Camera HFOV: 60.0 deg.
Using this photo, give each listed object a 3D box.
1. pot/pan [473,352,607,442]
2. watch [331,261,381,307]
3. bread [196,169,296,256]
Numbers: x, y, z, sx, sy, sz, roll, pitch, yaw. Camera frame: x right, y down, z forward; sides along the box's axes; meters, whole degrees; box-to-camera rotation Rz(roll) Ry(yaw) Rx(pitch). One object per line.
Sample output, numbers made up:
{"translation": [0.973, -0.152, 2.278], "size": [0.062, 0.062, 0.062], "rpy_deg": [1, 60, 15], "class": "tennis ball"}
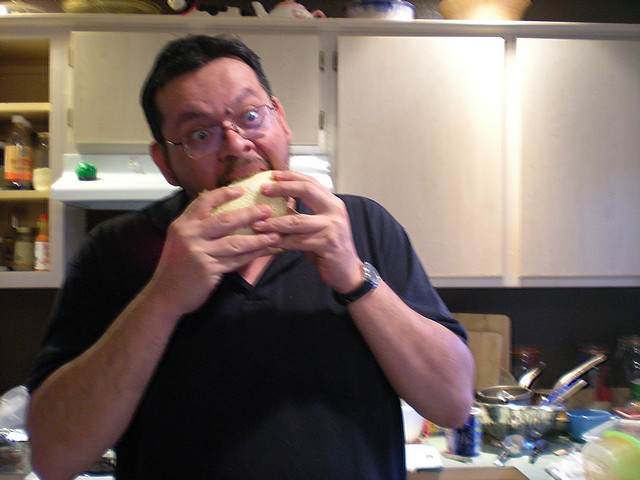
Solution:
{"translation": [0.825, 0.570, 2.128], "size": [0.499, 0.196, 0.250], "rpy_deg": [-6, 3, -31], "class": "pot/pan"}
{"translation": [0.083, 0.101, 1.281], "size": [0.086, 0.054, 0.087], "rpy_deg": [-32, 3, 12], "class": "watch"}
{"translation": [-0.129, -0.066, 1.308], "size": [0.141, 0.188, 0.262], "rpy_deg": [-4, 0, 40], "class": "bread"}
